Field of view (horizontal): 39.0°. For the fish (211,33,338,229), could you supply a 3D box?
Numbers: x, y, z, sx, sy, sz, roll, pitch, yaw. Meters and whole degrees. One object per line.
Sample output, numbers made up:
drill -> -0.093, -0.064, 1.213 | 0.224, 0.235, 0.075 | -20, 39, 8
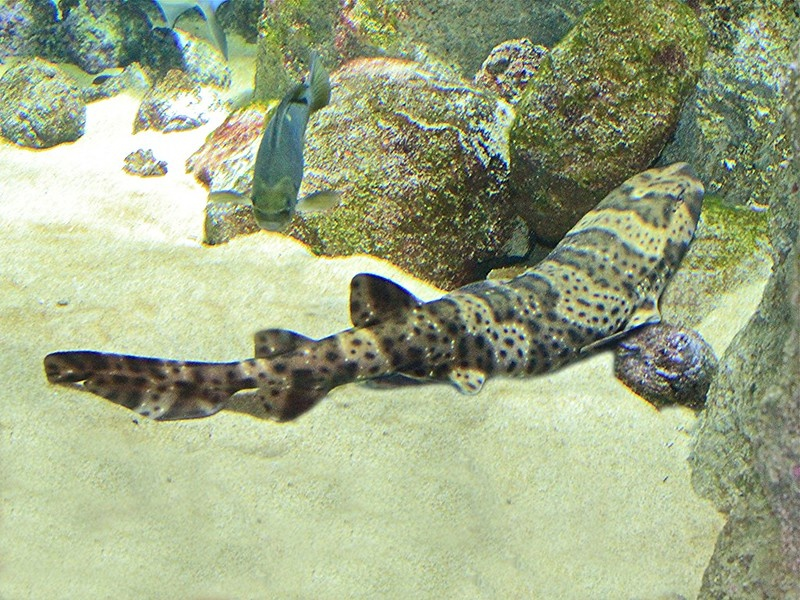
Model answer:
fish -> -0.734, -0.917, 7.350 | 0.619, 0.553, 1.430 | 8, 68, 7
